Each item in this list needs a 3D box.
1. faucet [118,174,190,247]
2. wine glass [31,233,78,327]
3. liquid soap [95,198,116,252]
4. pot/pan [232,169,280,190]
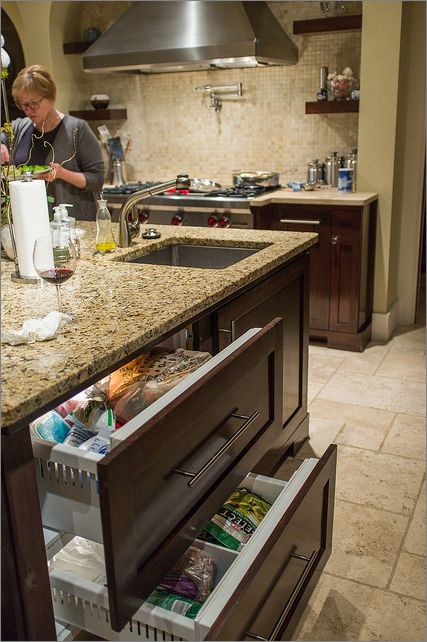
[{"bbox_3d":[-0.227,-0.412,1.803,0.281,0.242,0.114,-7,18,-10],"label":"faucet"},{"bbox_3d":[-0.344,-0.120,1.045,0.088,0.124,0.172,-10,19,-19],"label":"wine glass"},{"bbox_3d":[-0.400,-0.346,1.735,0.071,0.185,0.261,-8,19,-13],"label":"liquid soap"},{"bbox_3d":[0.325,-1.120,3.798,0.262,0.101,0.208,7,19,29],"label":"pot/pan"}]
